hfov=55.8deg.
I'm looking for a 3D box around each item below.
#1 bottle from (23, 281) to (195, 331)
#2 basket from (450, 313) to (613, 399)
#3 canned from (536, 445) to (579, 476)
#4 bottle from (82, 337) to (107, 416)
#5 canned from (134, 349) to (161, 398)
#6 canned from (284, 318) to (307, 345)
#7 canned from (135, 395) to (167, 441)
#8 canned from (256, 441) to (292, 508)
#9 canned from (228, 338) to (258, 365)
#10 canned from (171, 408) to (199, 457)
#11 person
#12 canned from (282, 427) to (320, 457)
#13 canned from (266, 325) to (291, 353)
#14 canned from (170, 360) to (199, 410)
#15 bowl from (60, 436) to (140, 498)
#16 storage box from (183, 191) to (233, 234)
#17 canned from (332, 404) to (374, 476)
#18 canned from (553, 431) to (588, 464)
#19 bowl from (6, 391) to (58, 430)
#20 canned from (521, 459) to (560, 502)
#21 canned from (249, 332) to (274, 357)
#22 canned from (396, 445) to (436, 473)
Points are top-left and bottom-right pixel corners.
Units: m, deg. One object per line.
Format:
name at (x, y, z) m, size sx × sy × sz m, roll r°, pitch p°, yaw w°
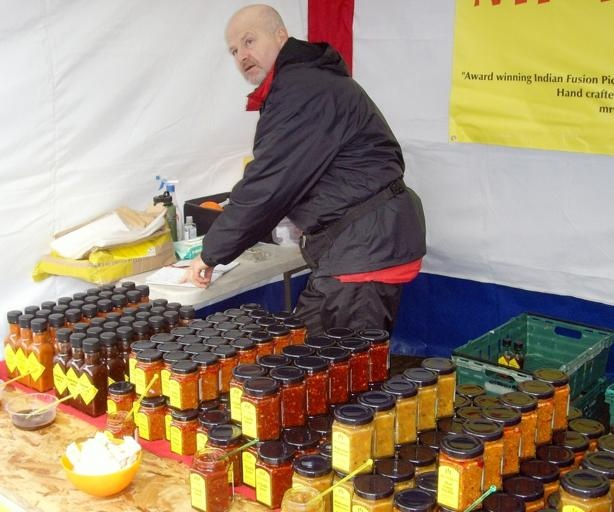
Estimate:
bottle at (-0.661, 0.183, 1.898) m, size 0.432 × 0.069 × 0.478 m, roll -12°, pitch 19°, yaw -36°
basket at (1.000, 0.436, 2.651) m, size 0.447 × 0.155 × 0.559 m, roll 17°, pitch 28°, yaw 42°
canned at (0.541, 0.432, 1.249) m, size 0.060 × 0.046 × 0.055 m, roll -13°, pitch 13°, yaw -20°
bottle at (-0.603, 0.342, 1.639) m, size 0.072 × 0.220 × 0.070 m, roll -1°, pitch 18°, yaw 0°
canned at (-0.415, 0.313, 1.528) m, size 0.065 × 0.122 × 0.072 m, roll -13°, pitch 21°, yaw -35°
canned at (-0.036, 0.223, 1.695) m, size 0.053 × 0.074 × 0.056 m, roll 15°, pitch 20°, yaw 36°
canned at (-0.405, 0.425, 1.511) m, size 0.083 × 0.109 × 0.043 m, roll -5°, pitch 18°, yaw -13°
canned at (-0.074, 0.485, 1.283) m, size 0.074 × 0.133 × 0.076 m, roll -9°, pitch 19°, yaw -24°
canned at (-0.171, 0.254, 1.551) m, size 0.067 × 0.058 × 0.069 m, roll -2°, pitch 8°, yaw -12°
canned at (-0.309, 0.440, 1.441) m, size 0.082 × 0.112 × 0.064 m, roll -1°, pitch 17°, yaw -3°
person at (0.026, -0.250, 2.338) m, size 0.950 × 1.211 × 0.351 m, roll -2°, pitch 18°, yaw -4°
canned at (-0.012, 0.416, 1.303) m, size 0.058 × 0.044 × 0.052 m, roll -3°, pitch 11°, yaw -7°
canned at (-0.077, 0.234, 1.642) m, size 0.080 × 0.100 × 0.068 m, roll 1°, pitch 2°, yaw 12°
canned at (-0.306, 0.329, 1.446) m, size 0.078 × 0.112 × 0.047 m, roll -4°, pitch 18°, yaw -12°
bowl at (-0.471, 0.456, 1.328) m, size 0.160 × 0.069 × 0.143 m, roll 1°, pitch 9°, yaw 0°
storage box at (-0.519, -0.234, 3.164) m, size 0.281 × 0.138 × 0.261 m, roll 6°, pitch 16°, yaw 24°
canned at (0.097, 0.377, 1.198) m, size 0.090 × 0.123 × 0.094 m, roll 14°, pitch 22°, yaw 39°
canned at (0.599, 0.424, 1.304) m, size 0.066 × 0.055 × 0.059 m, roll -9°, pitch 15°, yaw -9°
bowl at (-0.750, 0.427, 1.601) m, size 0.117 × 0.068 × 0.110 m, roll 0°, pitch 16°, yaw 0°
canned at (0.493, 0.460, 1.211) m, size 0.072 × 0.059 × 0.073 m, roll -14°, pitch 16°, yaw -26°
canned at (-0.118, 0.241, 1.596) m, size 0.068 × 0.051 × 0.061 m, roll 3°, pitch 12°, yaw 14°
canned at (0.238, 0.427, 1.227) m, size 0.055 × 0.030 × 0.049 m, roll -2°, pitch 4°, yaw -2°
